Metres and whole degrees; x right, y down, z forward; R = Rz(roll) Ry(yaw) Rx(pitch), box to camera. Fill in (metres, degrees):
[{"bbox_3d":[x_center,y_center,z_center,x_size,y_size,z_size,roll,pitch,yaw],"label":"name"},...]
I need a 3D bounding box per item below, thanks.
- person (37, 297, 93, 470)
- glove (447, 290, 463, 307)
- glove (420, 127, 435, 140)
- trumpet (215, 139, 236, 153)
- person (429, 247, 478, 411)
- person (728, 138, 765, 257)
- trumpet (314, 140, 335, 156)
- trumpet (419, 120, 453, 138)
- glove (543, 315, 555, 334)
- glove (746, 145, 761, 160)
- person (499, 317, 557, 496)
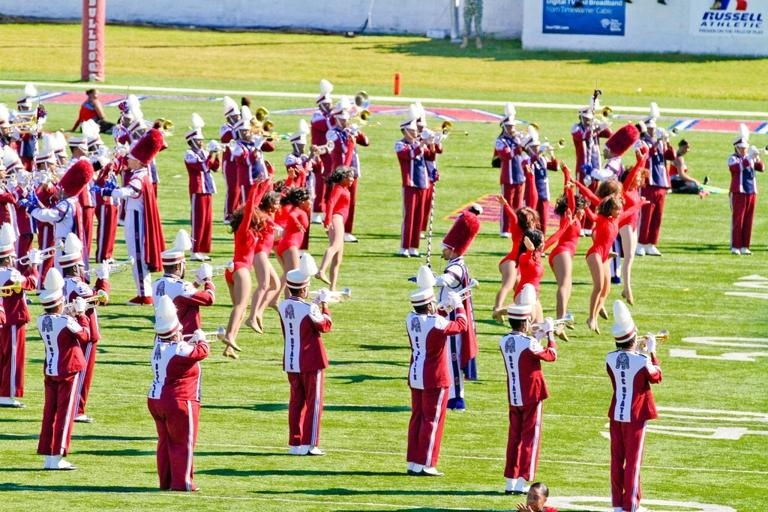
[{"bbox_3d":[-6.907,2.661,47.739,0.966,3.814,0.660,1,11,-9],"label":"person"},{"bbox_3d":[1.440,0.940,47.931,0.279,0.297,0.330,26,-12,-8],"label":"glove"},{"bbox_3d":[1.056,-3.021,55.568,0.320,0.274,0.295,2,10,-2],"label":"glove"},{"bbox_3d":[-3.965,-2.716,55.773,0.285,0.272,0.493,-20,-8,-22],"label":"trumpet"},{"bbox_3d":[1.469,1.527,49.709,1.255,3.657,1.530,0,2,-4],"label":"person"},{"bbox_3d":[9.054,-1.536,56.616,1.156,2.835,0.842,0,1,18],"label":"person"},{"bbox_3d":[-1.506,-2.676,55.829,0.242,0.225,0.413,-41,1,12],"label":"trumpet"},{"bbox_3d":[1.277,-3.137,55.559,0.791,0.368,0.374,-2,-14,35],"label":"trumpet"},{"bbox_3d":[3.486,1.494,47.665,0.242,0.289,0.144,6,-3,14],"label":"glove"},{"bbox_3d":[9.231,-2.597,56.215,0.310,0.334,0.352,17,13,38],"label":"glove"},{"bbox_3d":[2.947,3.072,47.640,0.944,3.943,0.892,1,11,-5],"label":"person"}]
